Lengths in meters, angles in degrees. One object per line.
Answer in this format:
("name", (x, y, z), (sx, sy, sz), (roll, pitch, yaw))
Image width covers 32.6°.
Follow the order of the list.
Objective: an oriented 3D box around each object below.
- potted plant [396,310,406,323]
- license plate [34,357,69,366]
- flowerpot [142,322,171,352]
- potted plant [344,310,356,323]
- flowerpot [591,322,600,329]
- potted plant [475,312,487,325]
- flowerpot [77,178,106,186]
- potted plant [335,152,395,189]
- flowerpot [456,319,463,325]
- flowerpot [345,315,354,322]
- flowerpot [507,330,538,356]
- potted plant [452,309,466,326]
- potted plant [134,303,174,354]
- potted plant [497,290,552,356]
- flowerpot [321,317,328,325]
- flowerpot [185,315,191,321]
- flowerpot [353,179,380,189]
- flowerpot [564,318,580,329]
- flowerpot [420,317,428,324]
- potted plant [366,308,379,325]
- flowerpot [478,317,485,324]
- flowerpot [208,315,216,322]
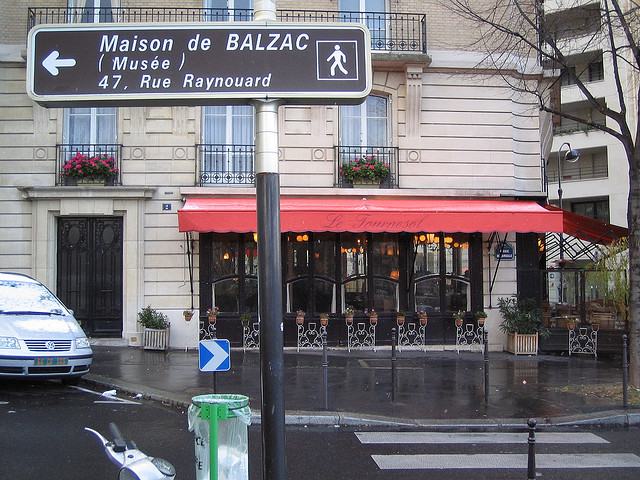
("potted plant", (2.341, 2.189, 31.413), (0.284, 0.336, 0.270), (1, -7, 6))
("license plate", (-6.290, 2.851, 25.589), (0.783, 0.194, 0.121), (4, -6, -35))
("flowerpot", (-4.787, 2.750, 30.776), (0.473, 0.844, 0.819), (1, -8, 41))
("potted plant", (0.844, 2.189, 31.342), (0.291, 0.360, 0.321), (0, -5, -1))
("flowerpot", (7.834, 2.433, 31.103), (0.182, 0.193, 0.158), (2, -8, -3))
("potted plant", (4.610, 2.227, 31.345), (0.311, 0.335, 0.284), (1, -5, -5))
("flowerpot", (-6.509, -1.656, 31.120), (0.786, 0.221, 0.132), (1, -4, -7))
("potted plant", (1.349, -2.012, 31.680), (1.474, 1.082, 1.092), (0, -1, -5))
("flowerpot", (4.003, 2.351, 31.489), (0.170, 0.197, 0.195), (4, -5, -36))
("flowerpot", (0.846, 2.242, 31.202), (0.189, 0.198, 0.142), (1, -5, -3))
("flowerpot", (5.844, 2.983, 31.478), (0.687, 0.686, 0.719), (2, -4, 0))
("potted plant", (3.993, 2.227, 31.611), (0.385, 0.463, 0.335), (1, -9, 1))
("potted plant", (-4.704, 2.570, 30.929), (0.742, 1.239, 0.748), (3, -13, -17))
("potted plant", (5.867, 2.414, 31.492), (1.462, 1.761, 0.800), (-1, -5, 14))
("flowerpot", (0.114, 2.287, 30.559), (0.156, 0.161, 0.145), (1, -5, -12))
("flowerpot", (-3.735, 2.198, 30.938), (0.122, 0.098, 0.123), (-3, -8, 39))
("flowerpot", (1.363, -1.627, 31.703), (0.478, 0.170, 0.348), (2, -4, 0))
("flowerpot", (7.234, 2.384, 31.363), (0.264, 0.286, 0.317), (0, -3, -16))
("flowerpot", (2.977, 2.310, 31.388), (0.165, 0.132, 0.155), (4, -7, -32))
("potted plant", (1.521, 2.191, 31.417), (0.293, 0.472, 0.414), (-1, -5, 10))
("flowerpot", (4.619, 2.315, 31.413), (0.188, 0.148, 0.195), (1, -5, -1))
("flowerpot", (-3.014, 2.212, 30.806), (0.234, 0.196, 0.161), (3, -5, -32))
